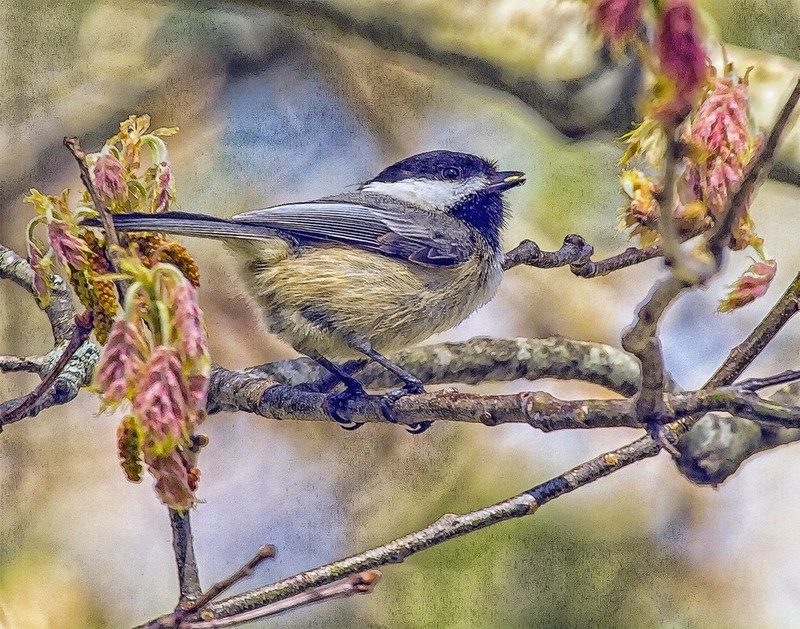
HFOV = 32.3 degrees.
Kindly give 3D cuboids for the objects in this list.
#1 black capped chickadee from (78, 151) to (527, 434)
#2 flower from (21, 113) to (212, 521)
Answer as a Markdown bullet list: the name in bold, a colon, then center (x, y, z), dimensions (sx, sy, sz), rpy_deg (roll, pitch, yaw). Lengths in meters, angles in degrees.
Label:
- **black capped chickadee**: center (-0.158, -0.077, 2.375), dimensions (0.804, 0.480, 0.261), rpy_deg (5, -11, -28)
- **flower**: center (-0.435, -0.005, 2.109), dimensions (0.263, 0.549, 0.452), rpy_deg (-8, 16, -9)
